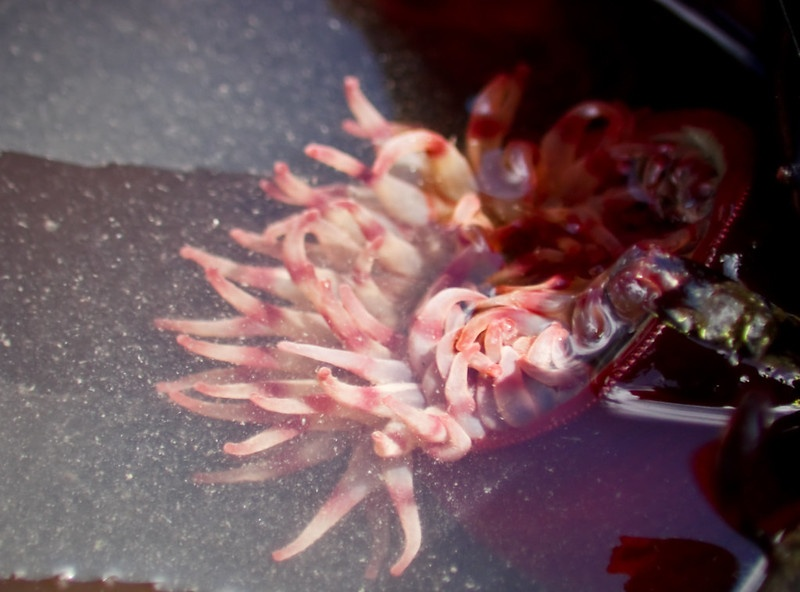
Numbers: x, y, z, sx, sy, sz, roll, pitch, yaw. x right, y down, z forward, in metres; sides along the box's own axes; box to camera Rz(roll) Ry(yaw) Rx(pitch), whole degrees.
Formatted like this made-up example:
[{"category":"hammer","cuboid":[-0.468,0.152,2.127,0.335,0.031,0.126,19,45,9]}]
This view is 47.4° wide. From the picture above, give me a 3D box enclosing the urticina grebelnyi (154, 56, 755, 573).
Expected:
[{"category":"urticina grebelnyi","cuboid":[0.047,-0.043,1.102,0.506,0.365,0.680,45,57,12]}]
